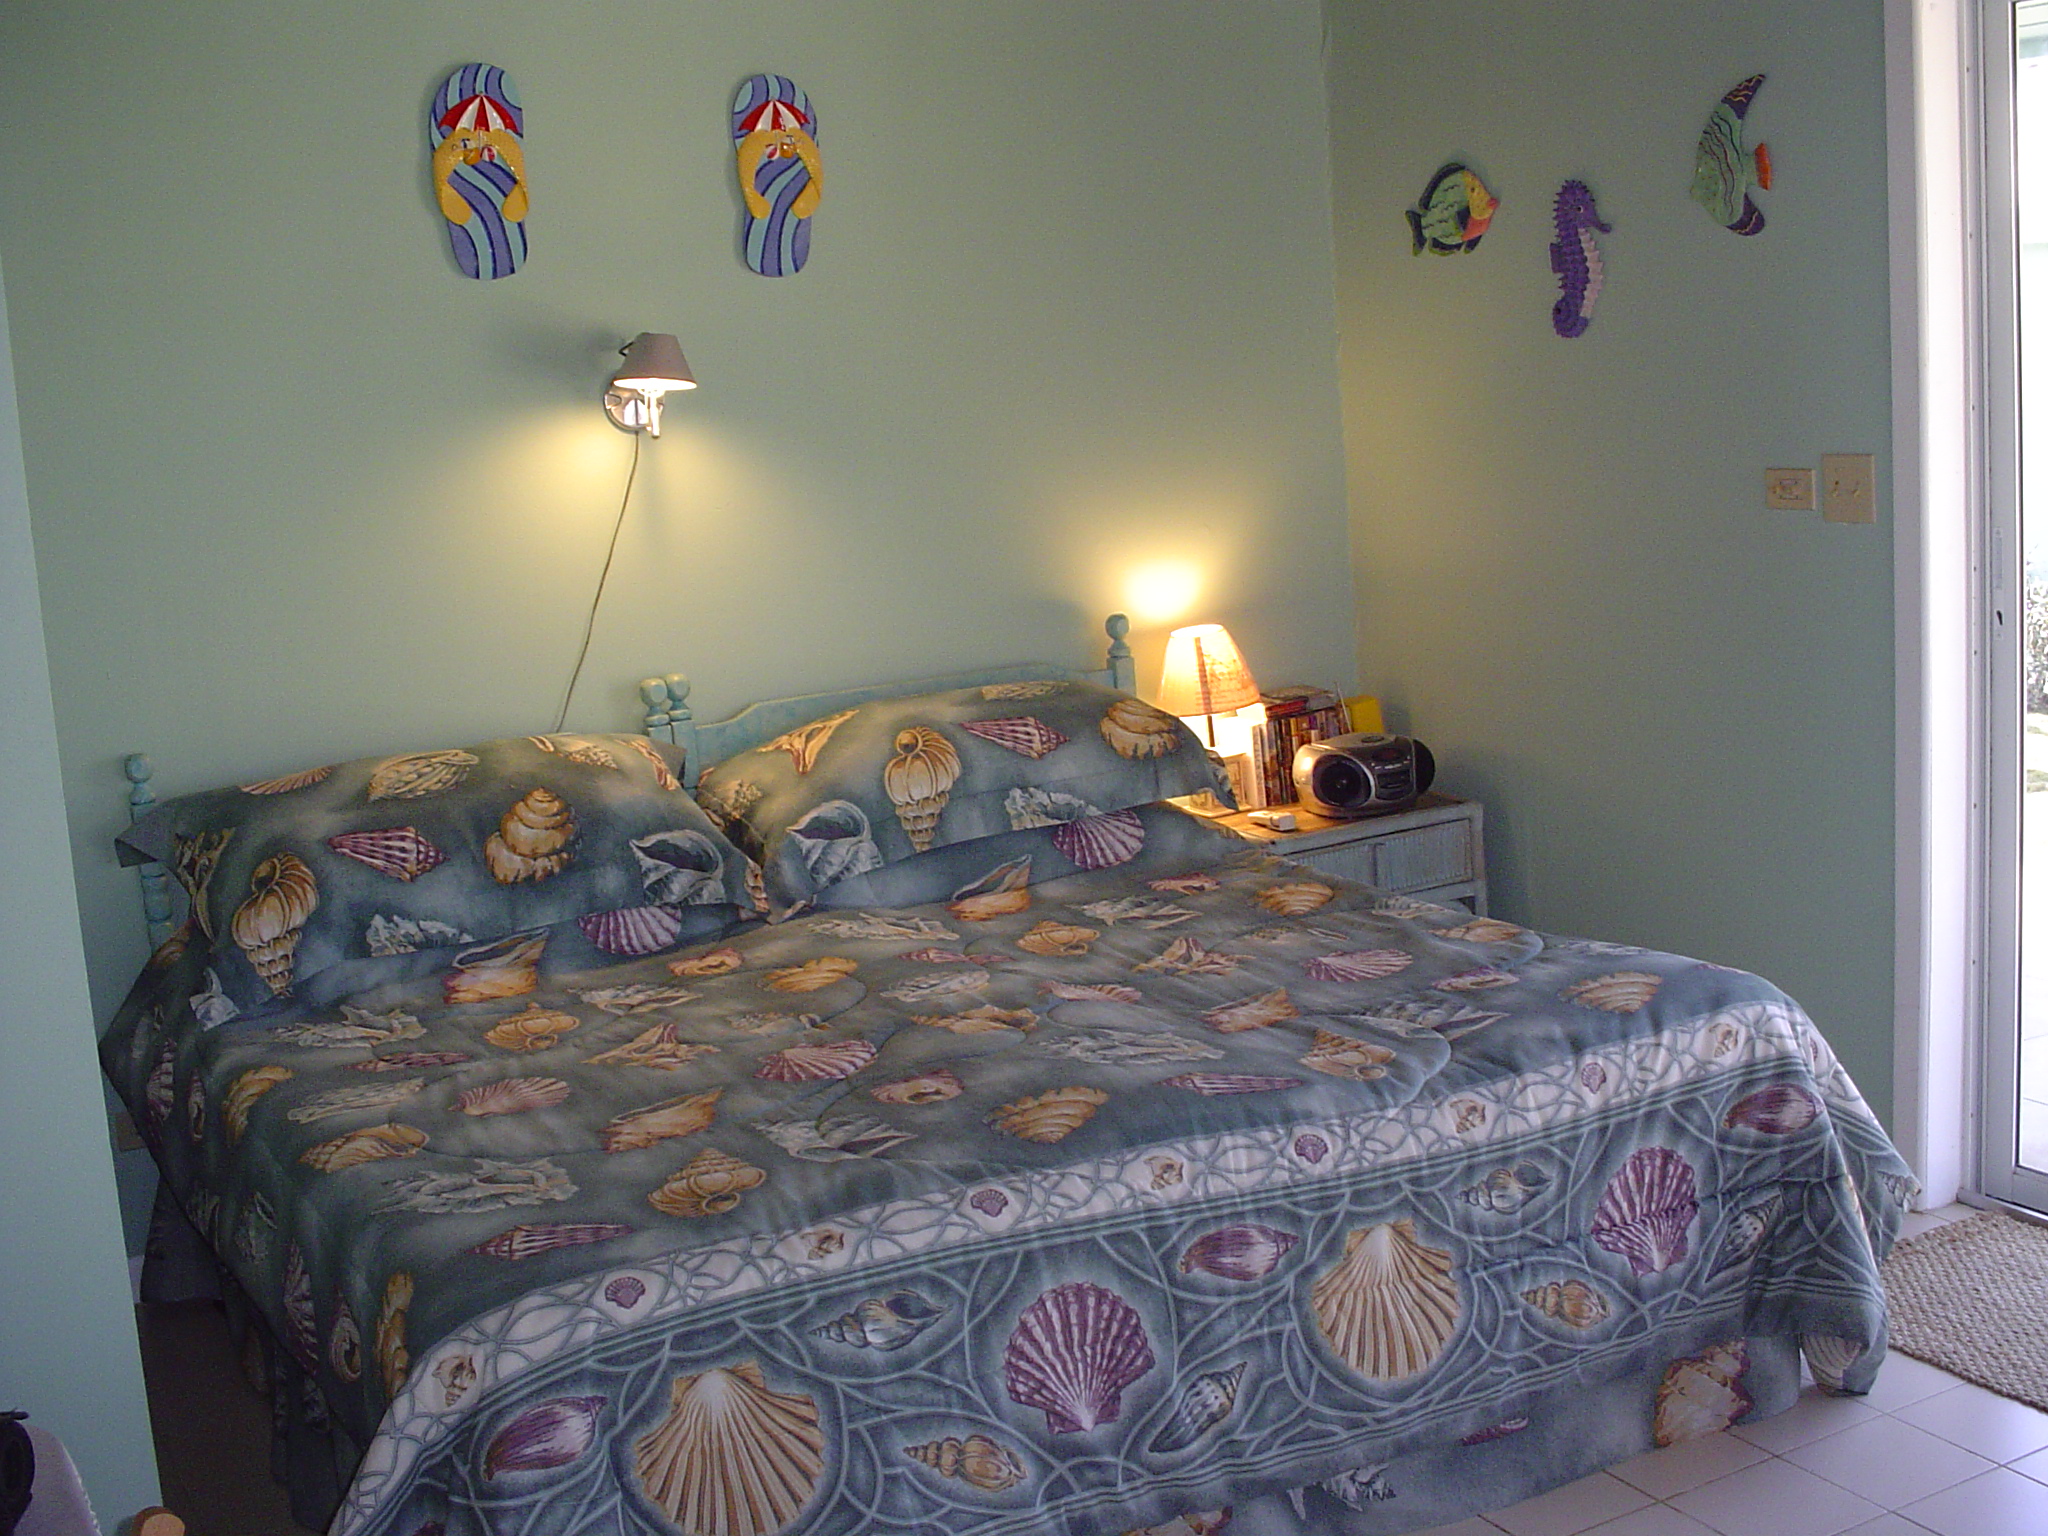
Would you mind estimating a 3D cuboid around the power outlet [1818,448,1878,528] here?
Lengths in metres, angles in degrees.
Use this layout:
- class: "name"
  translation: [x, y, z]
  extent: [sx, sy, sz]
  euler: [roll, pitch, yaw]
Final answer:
- class: "power outlet"
  translation: [1.755, -0.595, 3.394]
  extent: [0.019, 0.178, 0.149]
  euler: [-12, 17, -33]

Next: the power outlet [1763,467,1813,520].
- class: "power outlet"
  translation: [1.684, -0.604, 3.515]
  extent: [0.017, 0.085, 0.118]
  euler: [-5, 6, -26]

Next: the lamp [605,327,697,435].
- class: "lamp"
  translation: [-0.869, -0.895, 3.755]
  extent: [0.194, 0.225, 0.215]
  euler: [0, -3, -38]
